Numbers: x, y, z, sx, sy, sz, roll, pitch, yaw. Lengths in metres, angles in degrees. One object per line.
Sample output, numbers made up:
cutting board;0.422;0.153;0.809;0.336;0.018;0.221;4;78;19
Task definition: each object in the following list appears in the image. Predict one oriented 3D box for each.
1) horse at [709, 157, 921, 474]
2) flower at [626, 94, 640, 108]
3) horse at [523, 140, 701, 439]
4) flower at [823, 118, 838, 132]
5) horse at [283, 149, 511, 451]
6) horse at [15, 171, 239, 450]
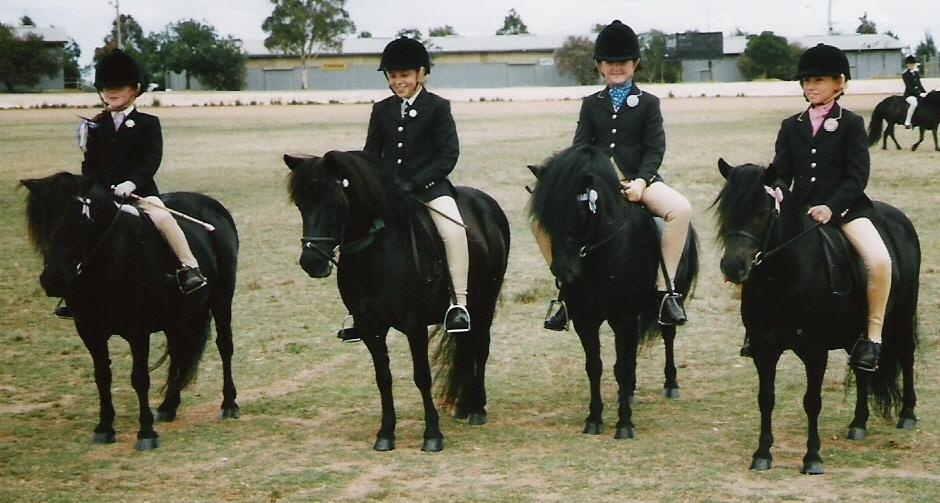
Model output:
horse;6.032;1.006;20.864;3.544;5.129;1.384;-7;13;-24
flower;2.947;-2.702;21.615;0.306;0.231;0.072;3;2;14
horse;2.229;0.664;21.242;2.203;5.049;1.142;-2;12;0
flower;6.215;-2.186;20.655;0.268;0.202;0.062;8;8;5
horse;-1.100;0.769;21.129;3.764;5.177;1.221;-8;13;-25
horse;-5.854;0.921;21.442;3.301;4.790;1.827;-7;13;-23
